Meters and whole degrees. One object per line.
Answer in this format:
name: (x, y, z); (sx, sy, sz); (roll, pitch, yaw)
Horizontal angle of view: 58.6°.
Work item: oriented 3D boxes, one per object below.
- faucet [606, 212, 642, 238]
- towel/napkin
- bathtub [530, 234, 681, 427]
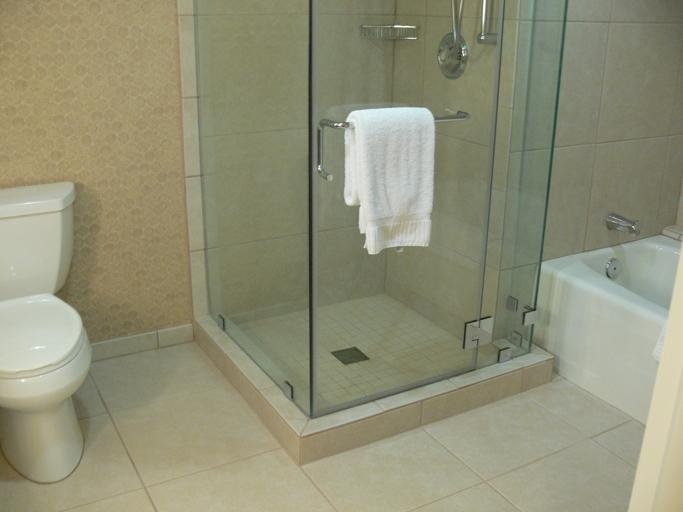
faucet: (1.361, -0.160, 2.963); (0.162, 0.066, 0.095); (34, 57, 27)
towel/napkin: (0.165, -0.297, 2.223); (0.379, 0.586, 0.232); (-11, 25, -25)
bathtub: (1.237, 0.315, 2.917); (0.748, 0.502, 0.791); (-13, 23, -29)
